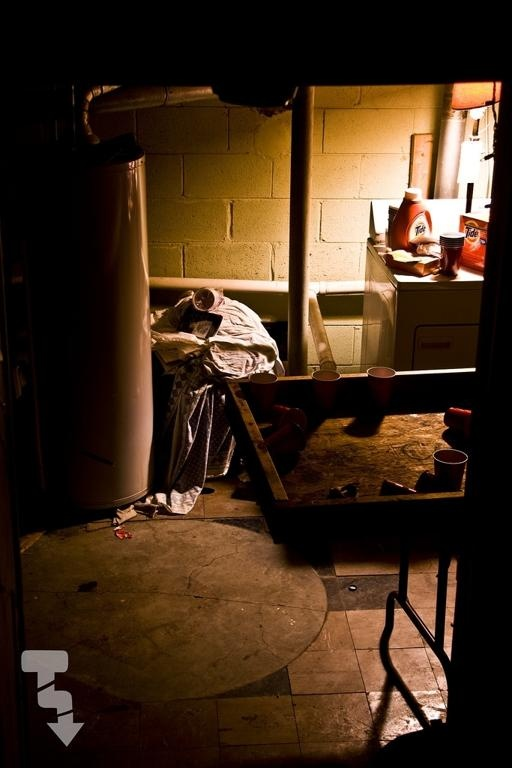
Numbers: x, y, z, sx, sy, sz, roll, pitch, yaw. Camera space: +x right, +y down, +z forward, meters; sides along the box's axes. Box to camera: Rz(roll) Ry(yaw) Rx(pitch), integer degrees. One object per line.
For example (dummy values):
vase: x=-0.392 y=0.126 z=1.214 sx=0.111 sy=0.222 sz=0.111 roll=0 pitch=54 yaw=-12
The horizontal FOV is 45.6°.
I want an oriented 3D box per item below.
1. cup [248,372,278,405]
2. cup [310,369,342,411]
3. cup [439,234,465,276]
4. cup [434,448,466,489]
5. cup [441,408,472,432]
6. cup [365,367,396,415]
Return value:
cup: x=0.018 y=0.010 z=1.518 sx=0.069 sy=0.082 sz=0.068 roll=0 pitch=13 yaw=0
cup: x=0.177 y=0.007 z=1.592 sx=0.086 sy=0.107 sz=0.091 roll=-2 pitch=14 yaw=0
cup: x=0.972 y=-0.655 z=3.014 sx=0.109 sy=0.238 sz=0.130 roll=-3 pitch=-13 yaw=9
cup: x=0.391 y=0.172 z=1.232 sx=0.069 sy=0.078 sz=0.072 roll=1 pitch=12 yaw=0
cup: x=0.460 y=0.081 z=1.394 sx=0.047 sy=0.050 sz=0.044 roll=-5 pitch=40 yaw=4
cup: x=0.319 y=0.013 z=1.562 sx=0.097 sy=0.128 sz=0.106 roll=-2 pitch=5 yaw=0
